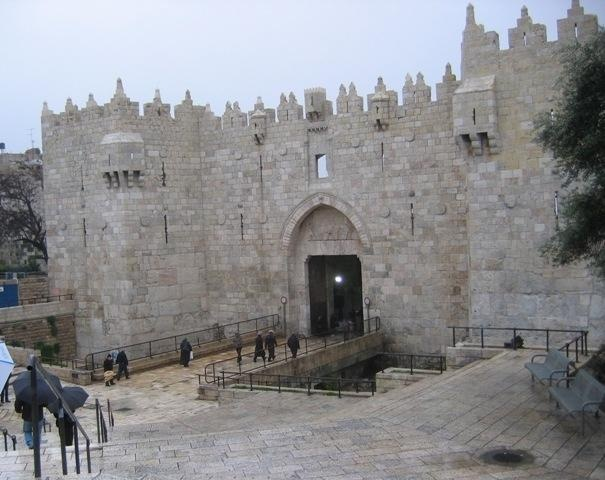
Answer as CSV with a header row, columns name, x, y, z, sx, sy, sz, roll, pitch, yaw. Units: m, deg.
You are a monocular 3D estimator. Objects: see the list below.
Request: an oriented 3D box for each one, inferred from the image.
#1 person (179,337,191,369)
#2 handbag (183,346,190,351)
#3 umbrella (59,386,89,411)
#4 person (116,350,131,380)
name,x,y,z,sx,sy,sz,roll,pitch,yaw
person,-3.962,3.805,24.894,0.397,0.735,0.569,-3,-1,-10
handbag,-3.854,3.654,24.724,0.091,0.174,0.253,-4,-1,43
umbrella,-4.263,2.890,13.730,0.561,0.568,0.409,9,-46,-18
person,-5.760,4.004,23.538,0.371,0.675,0.834,-3,-1,-16
